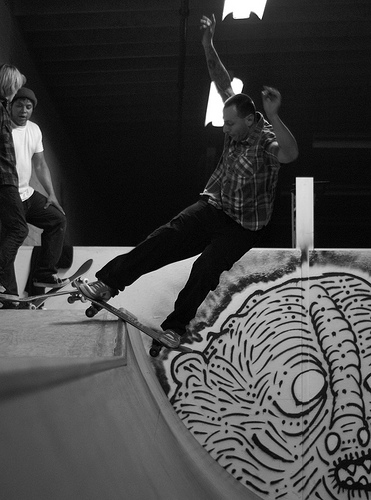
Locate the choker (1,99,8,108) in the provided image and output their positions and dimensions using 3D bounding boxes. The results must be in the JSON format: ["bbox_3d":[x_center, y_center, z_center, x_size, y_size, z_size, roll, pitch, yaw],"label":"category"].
[{"bbox_3d":[-1.259,-1.015,3.074,0.020,0.058,0.055,6,-2,24],"label":"choker"}]

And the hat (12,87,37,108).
[{"bbox_3d":[-1.309,-1.272,3.657,0.170,0.132,0.126,33,-31,-20],"label":"hat"}]

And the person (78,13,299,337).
[{"bbox_3d":[0.006,-0.392,2.822,1.119,1.854,0.869,1,24,-25],"label":"person"}]
